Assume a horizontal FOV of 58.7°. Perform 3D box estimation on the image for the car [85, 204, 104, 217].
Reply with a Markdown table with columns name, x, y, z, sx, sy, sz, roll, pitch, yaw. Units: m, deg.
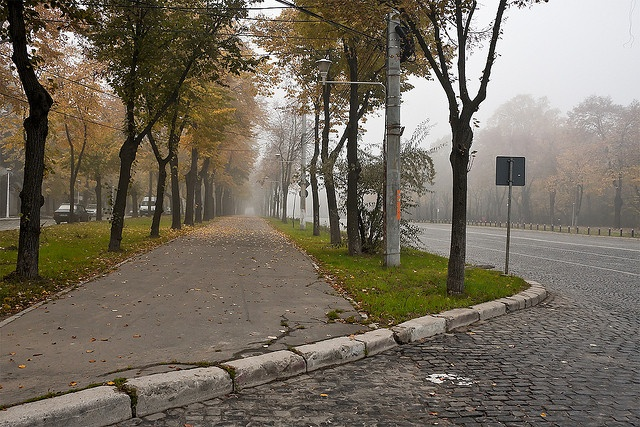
| name | x | y | z | sx | sy | sz | roll | pitch | yaw |
| --- | --- | --- | --- | --- | --- | --- | --- | --- | --- |
| car | -21.740 | -0.212 | 54.714 | 1.792 | 1.308 | 2.926 | 1 | -6 | -16 |
